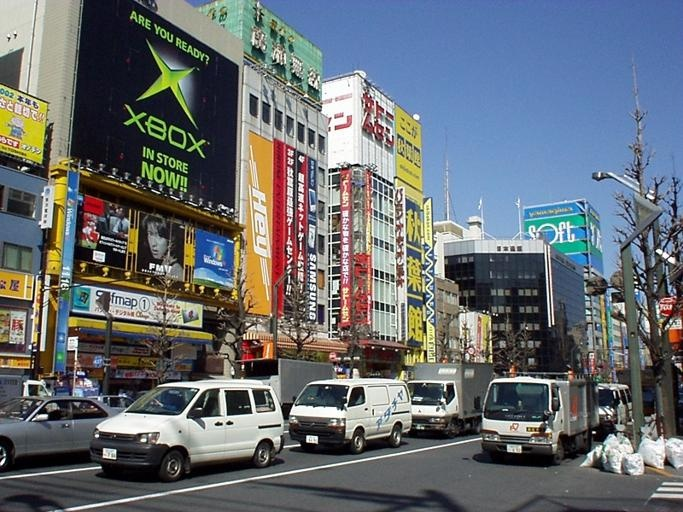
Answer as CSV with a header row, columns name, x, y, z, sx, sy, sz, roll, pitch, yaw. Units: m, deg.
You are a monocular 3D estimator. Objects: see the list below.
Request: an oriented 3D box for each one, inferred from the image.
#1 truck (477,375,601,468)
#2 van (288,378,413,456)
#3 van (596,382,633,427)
name,x,y,z,sx,sy,sz,roll,pitch,yaw
truck,7.315,5.814,23.027,2.342,2.374,4.888,-5,-13,31
van,0.306,5.929,23.960,2.321,2.290,4.467,-8,-15,33
van,13.229,7.049,31.749,2.485,2.418,4.164,-6,-18,26
